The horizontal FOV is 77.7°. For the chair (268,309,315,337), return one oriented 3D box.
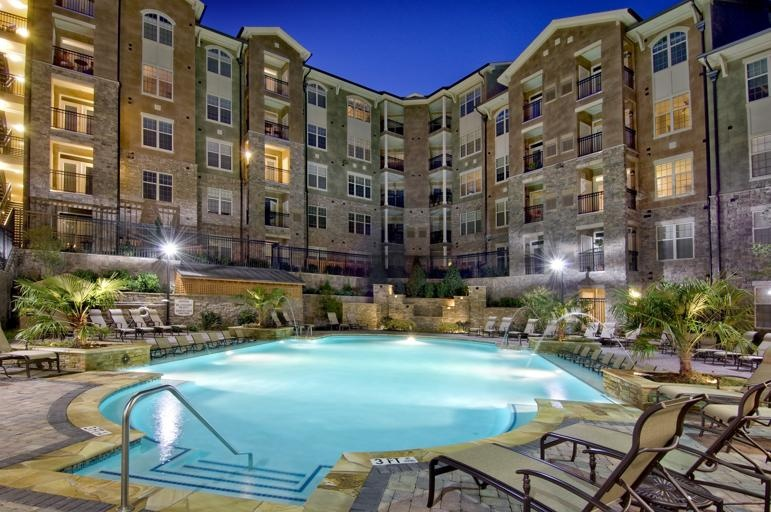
[{"bbox_3d":[-5.537,4.079,28.720,2.459,1.347,1.461,-4,-7,31],"label":"chair"}]

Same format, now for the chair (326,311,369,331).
[{"bbox_3d":[-2.706,4.334,31.772,2.124,0.926,1.255,-2,-5,13],"label":"chair"}]
